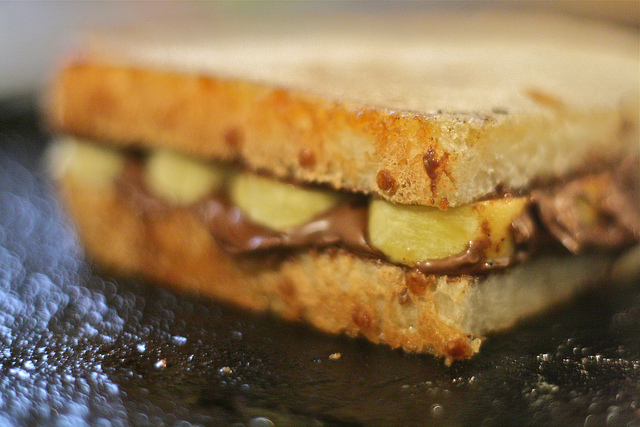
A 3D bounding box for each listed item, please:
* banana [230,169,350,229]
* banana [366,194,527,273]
[{"bbox_3d":[-0.034,-0.022,1.007,0.158,0.148,0.035,-20,72,34],"label":"banana"},{"bbox_3d":[0.153,0.020,0.921,0.194,0.077,0.086,2,59,2],"label":"banana"}]
